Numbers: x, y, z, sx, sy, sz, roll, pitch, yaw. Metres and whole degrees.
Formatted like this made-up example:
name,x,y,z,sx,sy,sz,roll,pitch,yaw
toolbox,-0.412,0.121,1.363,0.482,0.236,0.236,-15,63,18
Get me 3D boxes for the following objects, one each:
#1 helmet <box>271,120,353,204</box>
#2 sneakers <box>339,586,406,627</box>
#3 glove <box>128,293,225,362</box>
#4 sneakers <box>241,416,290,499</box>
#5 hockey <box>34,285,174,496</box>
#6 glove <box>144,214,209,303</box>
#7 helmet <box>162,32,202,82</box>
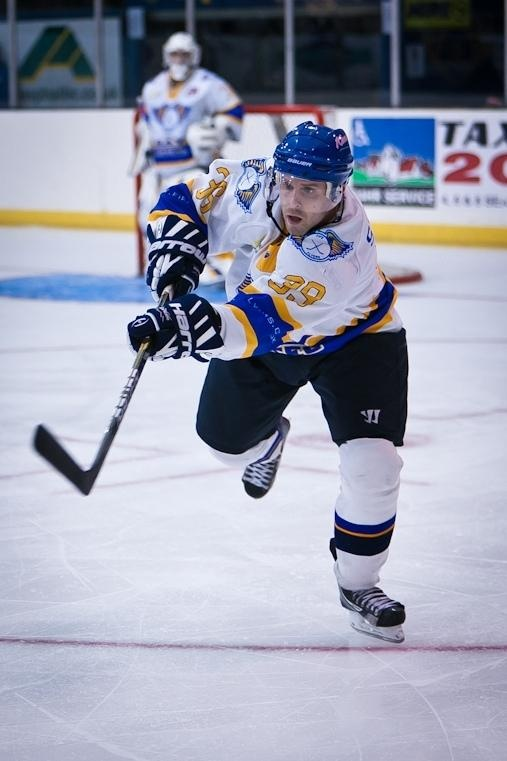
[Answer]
name,x,y,z,sx,sy,sz,roll,pitch,yaw
helmet,0.116,-0.418,1.617,0.133,0.167,0.181,3,11,15
sneakers,0.244,0.462,1.801,0.053,0.059,0.153,-2,13,-34
glove,-0.162,-0.092,1.495,0.195,0.075,0.144,-6,17,-44
sneakers,0.035,0.239,2.409,0.095,0.266,0.110,27,37,11
hockey,-0.548,0.054,3.033,0.202,0.084,1.068,18,33,6
glove,-0.168,-0.248,1.873,0.156,0.183,0.087,-1,-24,40
helmet,-0.409,-1.818,4.755,0.224,0.254,0.214,19,29,30
